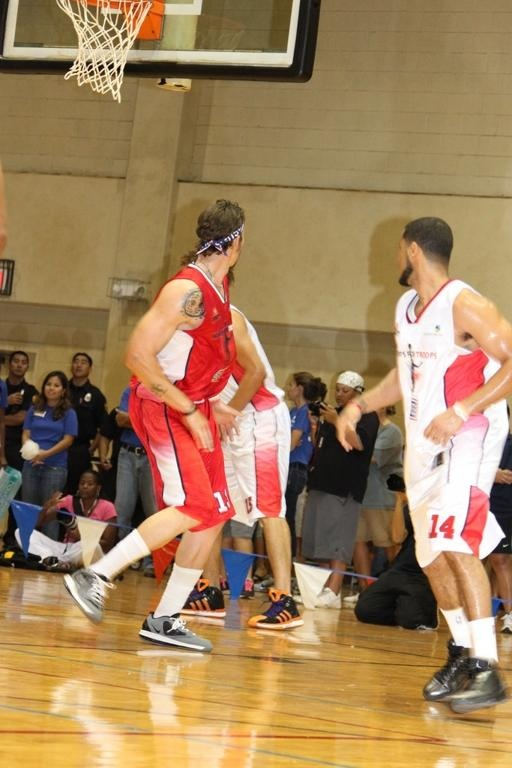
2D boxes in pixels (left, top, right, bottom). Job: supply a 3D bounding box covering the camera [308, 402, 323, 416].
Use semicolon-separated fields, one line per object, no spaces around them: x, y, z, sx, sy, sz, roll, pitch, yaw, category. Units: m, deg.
0.485;0.195;5.230;0.109;0.120;0.132;6;-8;-40;camera
